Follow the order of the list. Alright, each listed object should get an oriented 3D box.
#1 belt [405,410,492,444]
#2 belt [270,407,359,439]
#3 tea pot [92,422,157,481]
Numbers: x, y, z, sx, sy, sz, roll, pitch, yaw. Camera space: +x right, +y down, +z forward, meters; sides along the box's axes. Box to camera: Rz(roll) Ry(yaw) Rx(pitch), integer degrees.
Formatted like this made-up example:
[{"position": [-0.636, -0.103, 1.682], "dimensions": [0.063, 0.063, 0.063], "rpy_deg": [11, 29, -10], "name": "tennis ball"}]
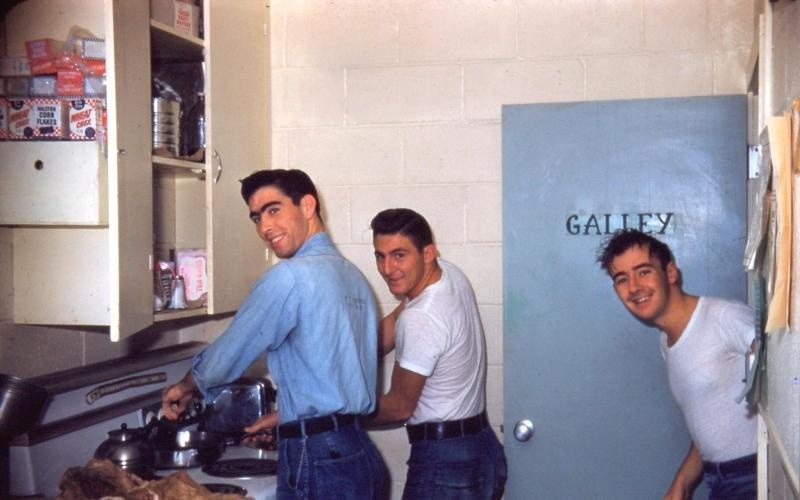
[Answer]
[{"position": [0.190, 0.802, 3.244], "dimensions": [0.325, 0.119, 0.091], "rpy_deg": [0, 2, -2], "name": "belt"}, {"position": [-0.329, 0.697, 2.909], "dimensions": [0.315, 0.101, 0.068], "rpy_deg": [0, 2, -10], "name": "belt"}, {"position": [-1.131, 0.816, 3.000], "dimensions": [0.228, 0.212, 0.227], "rpy_deg": [0, 2, 0], "name": "tea pot"}]
